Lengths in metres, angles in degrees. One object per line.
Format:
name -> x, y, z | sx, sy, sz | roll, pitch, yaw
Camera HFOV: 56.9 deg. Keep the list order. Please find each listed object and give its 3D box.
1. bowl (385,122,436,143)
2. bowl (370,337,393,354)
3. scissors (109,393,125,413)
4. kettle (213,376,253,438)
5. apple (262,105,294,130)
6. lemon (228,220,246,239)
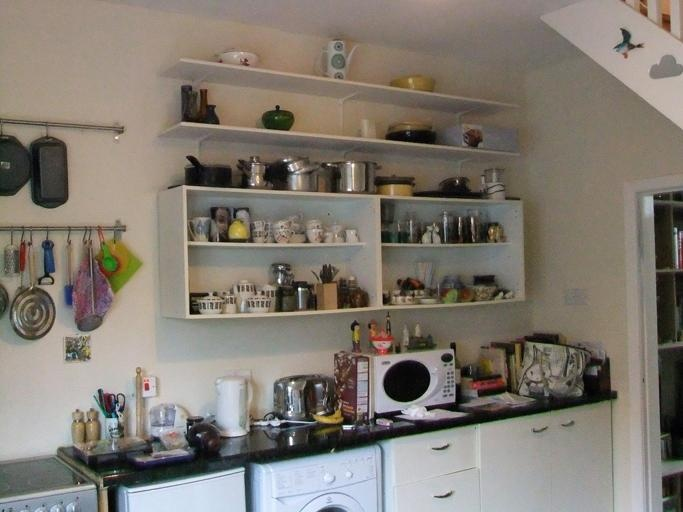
bowl -> 0.461, -0.792, 4.161 | 0.194, 0.074, 0.187 | 1, 1, 0
bowl -> 0.252, 0.560, 3.961 | 0.114, 0.090, 0.116 | 0, -5, 0
scissors -> -1.236, 0.811, 3.462 | 0.085, 0.140, 0.071 | 4, -11, -3
kettle -> -0.613, 0.853, 3.581 | 0.199, 0.330, 0.152 | 1, -8, -14
apple -> -0.374, -0.800, 3.772 | 0.164, 0.136, 0.167 | -1, -2, -12
lemon -> -0.598, -0.144, 3.646 | 0.100, 0.107, 0.100 | -1, -1, -32
